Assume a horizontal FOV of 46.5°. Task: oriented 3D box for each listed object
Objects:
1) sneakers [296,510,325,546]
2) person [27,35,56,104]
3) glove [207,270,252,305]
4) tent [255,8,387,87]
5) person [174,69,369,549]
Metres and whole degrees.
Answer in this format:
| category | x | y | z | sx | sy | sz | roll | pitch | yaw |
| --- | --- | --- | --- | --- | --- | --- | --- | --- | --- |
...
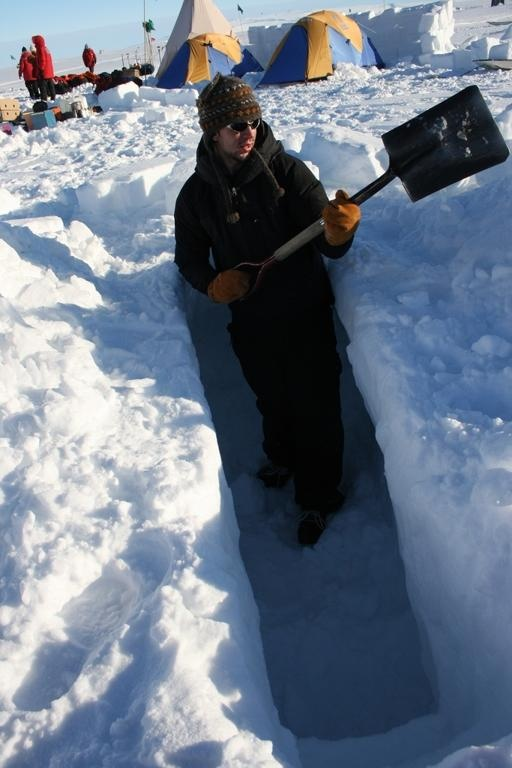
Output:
| category | x | y | z | sx | sy | sz | roll | pitch | yaw |
| --- | --- | --- | --- | --- | --- | --- | --- | --- | --- |
| sneakers | 0.214 | 0.559 | 2.321 | 0.091 | 0.044 | 0.124 | -9 | 57 | 43 |
| person | -4.011 | -5.911 | 11.208 | 0.348 | 1.039 | 1.445 | -14 | 31 | -13 |
| glove | -0.089 | -0.336 | 2.042 | 0.134 | 0.097 | 0.042 | -9 | -15 | 7 |
| tent | 1.153 | -5.320 | 9.923 | 1.913 | 0.808 | 1.421 | -35 | 35 | -22 |
| person | 0.092 | -0.077 | 2.154 | 0.641 | 1.792 | 0.738 | -4 | 14 | -7 |
